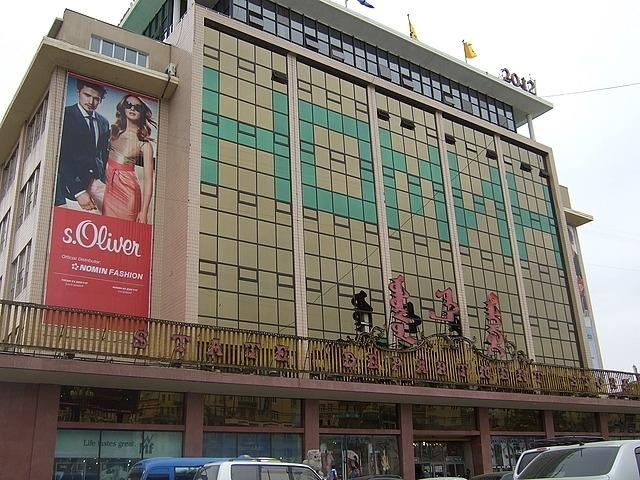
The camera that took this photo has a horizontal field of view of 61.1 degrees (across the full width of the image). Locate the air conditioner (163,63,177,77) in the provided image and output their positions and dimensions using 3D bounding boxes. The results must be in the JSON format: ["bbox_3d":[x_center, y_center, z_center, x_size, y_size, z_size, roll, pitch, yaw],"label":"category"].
[{"bbox_3d":[-8.261,-9.341,29.764,0.473,0.806,0.865,10,-52,-22],"label":"air conditioner"}]
